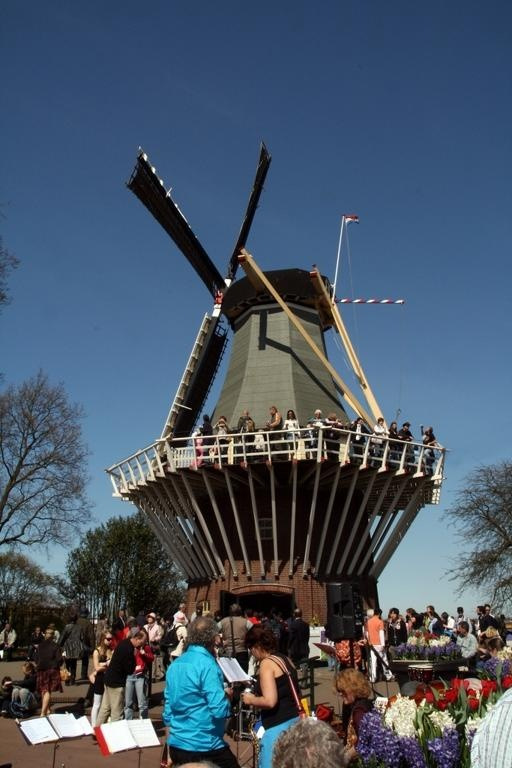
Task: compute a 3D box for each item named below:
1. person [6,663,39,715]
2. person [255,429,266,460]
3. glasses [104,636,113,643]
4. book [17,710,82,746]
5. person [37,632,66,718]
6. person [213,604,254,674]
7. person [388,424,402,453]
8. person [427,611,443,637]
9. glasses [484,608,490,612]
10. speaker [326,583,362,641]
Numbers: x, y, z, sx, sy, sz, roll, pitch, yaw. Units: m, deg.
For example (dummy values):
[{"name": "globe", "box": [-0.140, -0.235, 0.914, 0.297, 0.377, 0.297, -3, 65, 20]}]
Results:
[{"name": "person", "box": [-3.930, 5.143, 10.299, 0.571, 0.803, 0.530, 6, -17, -14]}, {"name": "person", "box": [0.108, 1.770, 18.005, 0.280, 0.725, 0.446, 5, 2, 20]}, {"name": "glasses", "box": [-2.216, 3.822, 9.212, 0.143, 0.049, 0.139, -22, -33, 29]}, {"name": "book", "box": [-1.886, 3.212, 5.697, 0.635, 0.217, 0.304, 15, -21, -39]}, {"name": "person", "box": [-3.335, 4.665, 9.971, 0.462, 1.294, 0.532, -4, -14, 11]}, {"name": "person", "box": [-0.346, 4.541, 10.735, 0.540, 1.400, 0.422, -3, 7, -1]}, {"name": "person", "box": [4.139, 1.542, 18.472, 0.353, 1.016, 1.954, -2, -16, 13]}, {"name": "person", "box": [3.831, 5.142, 13.277, 0.346, 0.434, 1.248, -3, -16, 15]}, {"name": "glasses", "box": [4.479, 4.410, 11.973, 0.073, 0.052, 0.090, 1, -32, 13]}, {"name": "speaker", "box": [1.209, 3.169, 8.489, 0.490, 0.761, 1.380, 0, -16, 8]}]
